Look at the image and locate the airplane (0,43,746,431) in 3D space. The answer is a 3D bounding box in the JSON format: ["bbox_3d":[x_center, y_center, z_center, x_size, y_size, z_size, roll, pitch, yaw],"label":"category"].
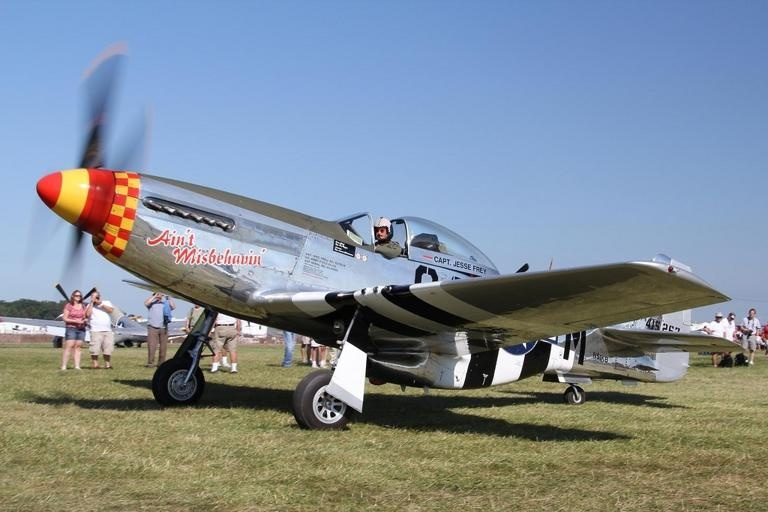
[{"bbox_3d":[0.824,0.500,7.673,8.449,2.395,8.755,11,-10,-33],"label":"airplane"}]

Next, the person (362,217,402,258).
[{"bbox_3d":[0.059,-0.266,8.417,0.507,0.536,0.781,-2,10,-26],"label":"person"}]
